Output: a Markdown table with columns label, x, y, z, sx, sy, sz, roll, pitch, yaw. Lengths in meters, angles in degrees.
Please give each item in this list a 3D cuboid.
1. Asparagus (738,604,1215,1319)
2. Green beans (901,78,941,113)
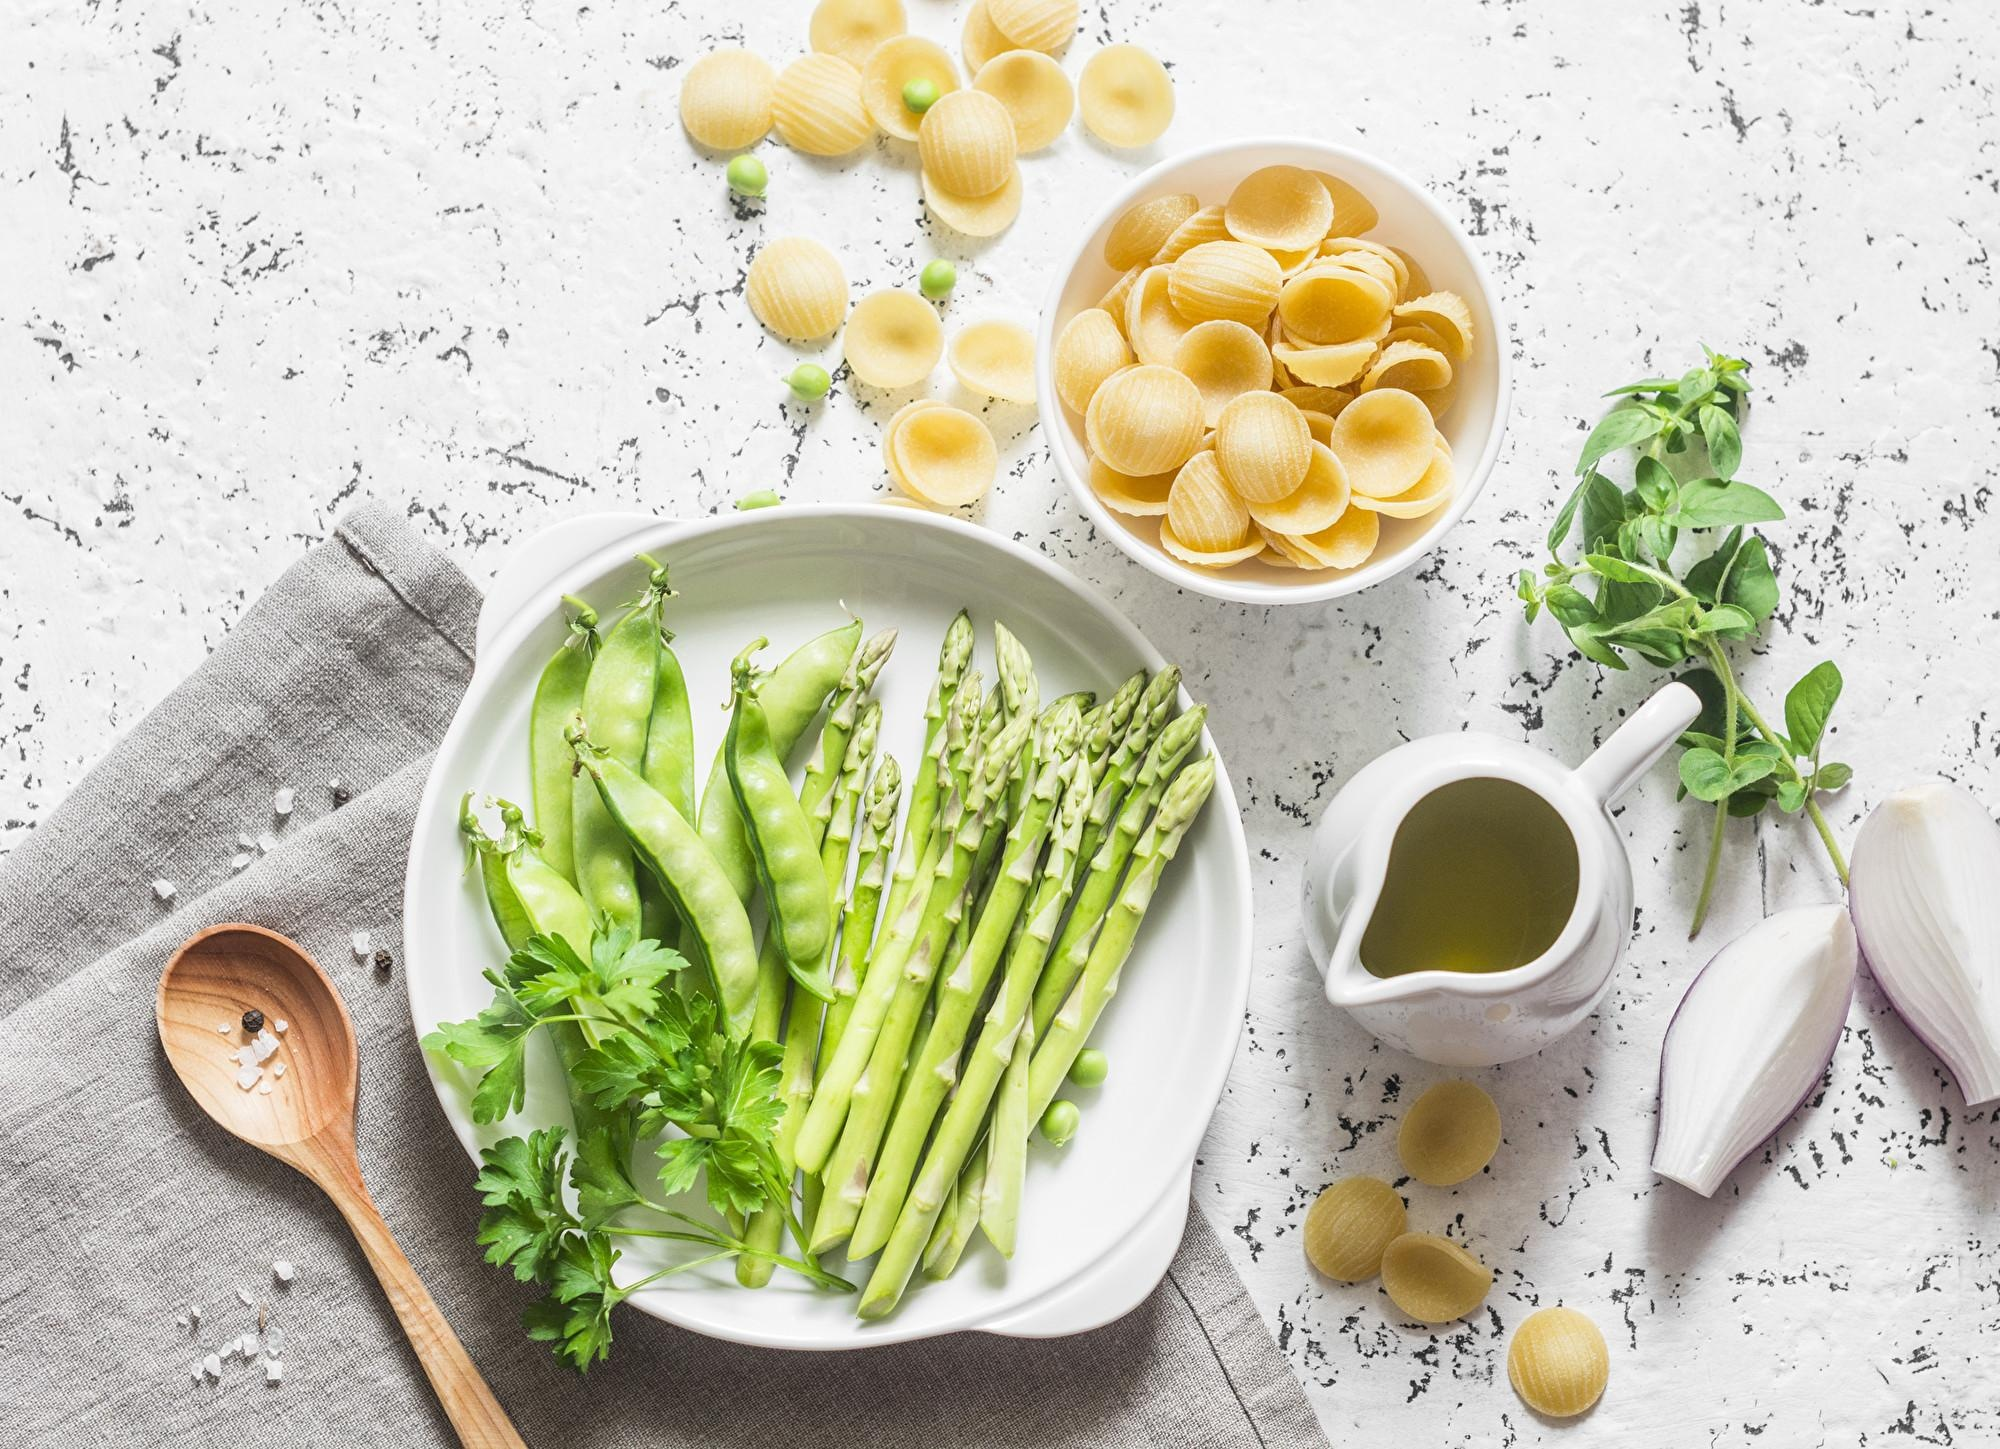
| label | x | y | z | sx | sy | sz | roll | pitch | yaw |
| --- | --- | --- | --- | --- | --- | --- | --- | --- | --- |
| Asparagus | -0.007 | 0.251 | 2.307 | 0.321 | 0.153 | 0.920 | 16 | 85 | -3 |
| Green beans | -0.090 | -0.717 | 2.384 | 0.034 | 0.021 | 0.043 | -5 | 85 | -5 |
